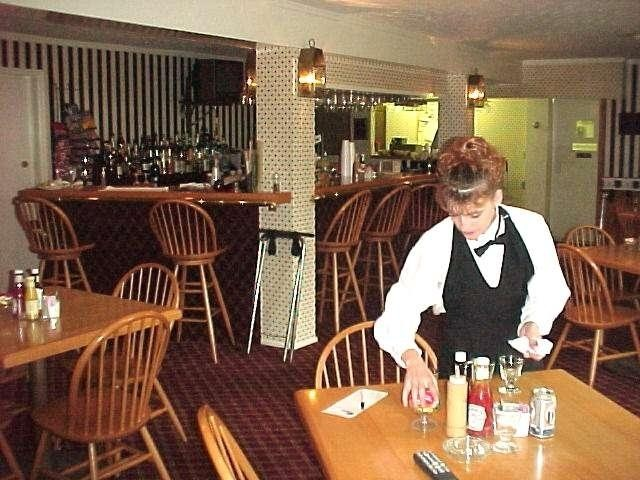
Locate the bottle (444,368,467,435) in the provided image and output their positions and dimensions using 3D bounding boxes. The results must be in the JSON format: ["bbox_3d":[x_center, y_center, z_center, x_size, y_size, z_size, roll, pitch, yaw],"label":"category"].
[{"bbox_3d":[0.486,0.585,1.896,0.076,0.237,0.078,-1,12,0],"label":"bottle"}]

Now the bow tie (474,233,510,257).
[{"bbox_3d":[0.744,0.019,2.302,0.192,0.063,0.019,-32,7,-5],"label":"bow tie"}]

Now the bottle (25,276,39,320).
[{"bbox_3d":[-1.655,0.340,3.062,0.079,0.228,0.090,-7,13,-28],"label":"bottle"}]

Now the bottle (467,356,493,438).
[{"bbox_3d":[0.573,0.554,1.898,0.089,0.293,0.101,3,12,18],"label":"bottle"}]

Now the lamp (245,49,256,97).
[{"bbox_3d":[-0.801,-1.881,6.133,0.150,0.643,0.159,10,-26,-26],"label":"lamp"}]

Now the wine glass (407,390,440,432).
[{"bbox_3d":[0.412,0.649,2.025,0.095,0.139,0.091,-15,-13,34],"label":"wine glass"}]

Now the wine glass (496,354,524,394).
[{"bbox_3d":[0.767,0.544,2.158,0.107,0.140,0.103,3,-9,-12],"label":"wine glass"}]

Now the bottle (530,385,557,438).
[{"bbox_3d":[0.788,0.617,1.894,0.084,0.161,0.077,-1,11,0],"label":"bottle"}]

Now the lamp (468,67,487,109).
[{"bbox_3d":[2.471,-2.388,8.467,0.253,0.578,0.347,4,13,24],"label":"lamp"}]

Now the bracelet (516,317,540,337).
[{"bbox_3d":[0.889,0.372,2.273,0.100,0.047,0.134,-1,6,12],"label":"bracelet"}]

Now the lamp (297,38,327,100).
[{"bbox_3d":[-0.071,-1.553,4.999,0.166,0.442,0.318,6,13,31],"label":"lamp"}]

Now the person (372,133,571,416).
[{"bbox_3d":[0.632,0.138,2.258,0.874,1.116,0.507,-6,13,-24],"label":"person"}]

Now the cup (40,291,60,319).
[{"bbox_3d":[-1.550,0.384,3.070,0.092,0.128,0.137,-8,13,-31],"label":"cup"}]

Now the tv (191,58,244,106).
[{"bbox_3d":[-1.650,-2.531,8.634,0.816,0.681,0.441,5,15,12],"label":"tv"}]
